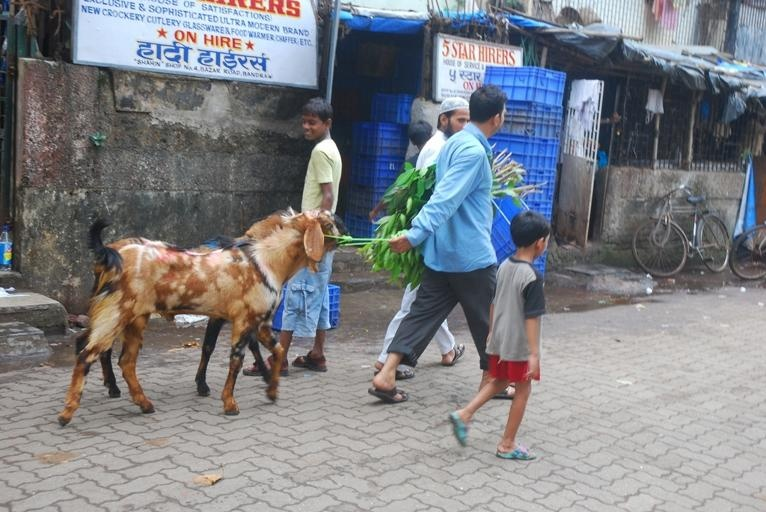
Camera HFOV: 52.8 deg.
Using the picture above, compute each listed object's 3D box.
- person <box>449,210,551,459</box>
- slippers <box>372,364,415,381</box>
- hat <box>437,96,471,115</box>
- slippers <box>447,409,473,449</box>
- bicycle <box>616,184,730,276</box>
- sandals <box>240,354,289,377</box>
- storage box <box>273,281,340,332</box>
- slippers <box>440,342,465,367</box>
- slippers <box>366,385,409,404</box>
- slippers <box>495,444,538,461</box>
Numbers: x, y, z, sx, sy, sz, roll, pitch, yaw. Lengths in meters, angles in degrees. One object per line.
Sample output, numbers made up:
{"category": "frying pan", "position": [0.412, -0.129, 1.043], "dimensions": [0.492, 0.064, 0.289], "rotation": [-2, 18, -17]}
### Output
{"category": "person", "position": [1.069, 0.668, 6.910], "dimensions": [0.734, 2.146, 0.638], "rotation": [5, 13, 9]}
{"category": "slippers", "position": [0.124, 1.211, 8.132], "dimensions": [0.451, 0.170, 0.176], "rotation": [-4, 16, -13]}
{"category": "hat", "position": [0.724, -1.572, 8.100], "dimensions": [0.272, 0.143, 0.273], "rotation": [2, 6, 20]}
{"category": "slippers", "position": [0.676, 1.495, 6.932], "dimensions": [0.163, 0.374, 0.129], "rotation": [-10, 15, 9]}
{"category": "bicycle", "position": [5.447, -0.460, 13.979], "dimensions": [2.651, 1.564, 1.001], "rotation": [-9, 18, -42]}
{"category": "sandals", "position": [-1.240, 1.122, 7.952], "dimensions": [0.552, 0.221, 0.212], "rotation": [2, 4, 1]}
{"category": "storage box", "position": [-0.792, 0.609, 9.401], "dimensions": [0.614, 0.362, 0.605], "rotation": [1, 1, 5]}
{"category": "slippers", "position": [0.788, 1.068, 8.666], "dimensions": [0.126, 0.153, 0.366], "rotation": [10, 30, 33]}
{"category": "slippers", "position": [0.053, 1.337, 7.555], "dimensions": [0.427, 0.125, 0.165], "rotation": [8, 8, -43]}
{"category": "slippers", "position": [1.182, 1.742, 6.915], "dimensions": [0.265, 0.091, 0.141], "rotation": [0, 10, -5]}
